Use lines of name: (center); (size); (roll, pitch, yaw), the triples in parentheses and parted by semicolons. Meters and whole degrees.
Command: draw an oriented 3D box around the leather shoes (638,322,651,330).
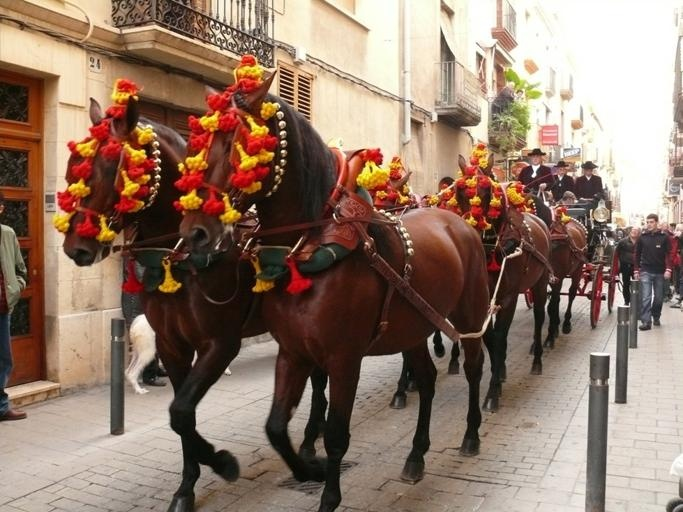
leather shoes: (5.820, 1.351, 14.012); (0.095, 0.112, 0.284); (-5, -10, 44)

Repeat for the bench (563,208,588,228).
bench: (4.833, -0.751, 14.870); (0.543, 0.440, 0.868); (2, 1, 28)

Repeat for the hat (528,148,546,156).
hat: (4.266, -2.244, 15.931); (0.486, 0.175, 0.522); (0, 3, 11)

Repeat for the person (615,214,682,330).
person: (6.013, 0.289, 14.201); (0.689, 2.209, 0.776); (1, 3, 6)

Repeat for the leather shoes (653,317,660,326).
leather shoes: (6.273, 1.299, 14.546); (0.193, 0.171, 0.087); (-14, 19, -32)

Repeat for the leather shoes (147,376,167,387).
leather shoes: (-2.453, 1.684, 9.810); (0.297, 0.110, 0.104); (0, 1, 8)

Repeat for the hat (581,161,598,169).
hat: (5.498, -2.007, 16.238); (0.324, 0.122, 0.364); (1, 4, 14)
